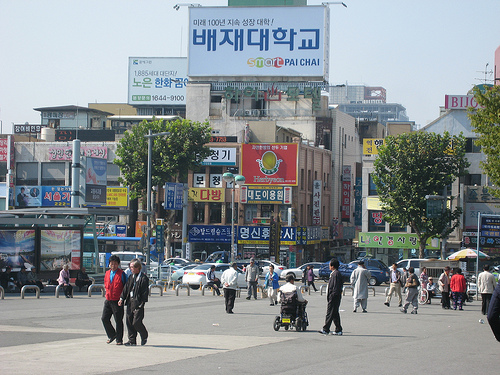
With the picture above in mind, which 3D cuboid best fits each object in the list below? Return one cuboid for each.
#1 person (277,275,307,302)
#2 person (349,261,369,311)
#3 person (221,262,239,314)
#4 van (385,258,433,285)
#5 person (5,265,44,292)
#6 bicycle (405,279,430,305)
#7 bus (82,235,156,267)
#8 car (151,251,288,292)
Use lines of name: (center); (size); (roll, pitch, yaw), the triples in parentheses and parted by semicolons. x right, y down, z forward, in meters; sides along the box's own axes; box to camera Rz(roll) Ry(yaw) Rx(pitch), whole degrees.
person: (2.107, 5.255, 64.507); (1.361, 1.448, 0.933); (1, -4, 0)
person: (6.135, 5.540, 70.115); (1.026, 2.839, 0.852); (-2, -2, 26)
person: (-1.118, 5.673, 70.194); (0.867, 2.874, 1.487); (1, -4, -1)
van: (11.220, 6.187, 89.130); (2.923, 1.744, 1.893); (3, -2, 9)
person: (-13.846, 5.590, 76.457); (2.162, 1.499, 0.732); (2, -4, -10)
bicycle: (10.653, 6.762, 77.887); (0.998, 1.383, 2.088); (4, -7, -29)
bus: (-12.329, 5.059, 102.142); (6.353, 3.550, 2.716); (-1, -2, -1)
car: (-3.484, 6.098, 86.963); (6.386, 2.599, 2.636); (1, -3, -25)
